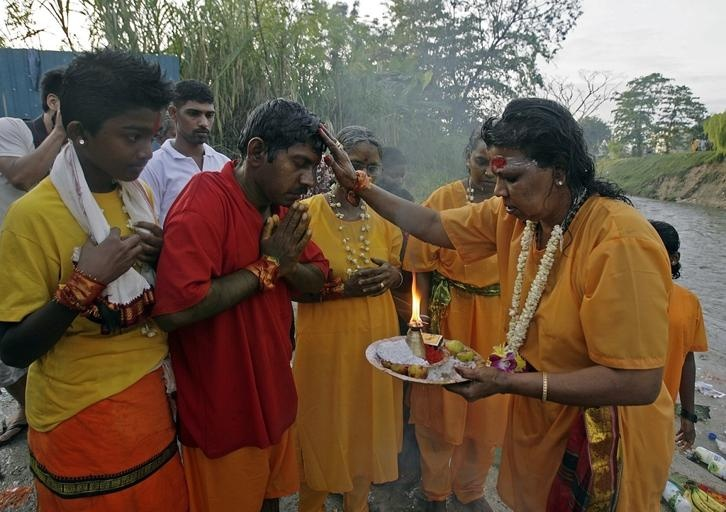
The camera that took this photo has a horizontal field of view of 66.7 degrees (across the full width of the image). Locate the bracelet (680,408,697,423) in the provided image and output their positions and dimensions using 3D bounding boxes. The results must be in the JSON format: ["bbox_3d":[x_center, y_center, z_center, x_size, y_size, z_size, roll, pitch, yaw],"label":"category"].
[{"bbox_3d":[2.724,1.334,4.601,0.098,0.059,0.129,12,23,-46],"label":"bracelet"}]

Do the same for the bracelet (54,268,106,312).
[{"bbox_3d":[-1.566,0.180,3.079,0.240,0.238,0.101,37,-4,-13],"label":"bracelet"}]

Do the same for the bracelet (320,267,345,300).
[{"bbox_3d":[-0.234,0.216,4.200,0.225,0.212,0.181,8,-3,40],"label":"bracelet"}]

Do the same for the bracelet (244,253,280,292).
[{"bbox_3d":[-0.634,0.116,3.450,0.154,0.211,0.104,40,-24,0],"label":"bracelet"}]

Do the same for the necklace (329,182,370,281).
[{"bbox_3d":[-0.087,-0.215,4.430,0.390,0.690,0.162,-2,-1,-16],"label":"necklace"}]

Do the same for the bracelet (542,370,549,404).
[{"bbox_3d":[1.099,0.799,3.336,0.027,0.115,0.115,-1,4,18],"label":"bracelet"}]

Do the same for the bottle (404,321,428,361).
[{"bbox_3d":[0.361,0.573,3.760,0.201,0.212,0.187,8,-3,-8],"label":"bottle"}]

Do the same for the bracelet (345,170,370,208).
[{"bbox_3d":[-0.029,-0.507,4.099,0.110,0.249,0.192,5,2,11],"label":"bracelet"}]

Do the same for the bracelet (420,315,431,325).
[{"bbox_3d":[0.554,0.560,4.821,0.083,0.104,0.080,0,-1,9],"label":"bracelet"}]

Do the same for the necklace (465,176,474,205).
[{"bbox_3d":[0.966,-0.595,4.950,0.050,0.179,0.129,1,1,28],"label":"necklace"}]
